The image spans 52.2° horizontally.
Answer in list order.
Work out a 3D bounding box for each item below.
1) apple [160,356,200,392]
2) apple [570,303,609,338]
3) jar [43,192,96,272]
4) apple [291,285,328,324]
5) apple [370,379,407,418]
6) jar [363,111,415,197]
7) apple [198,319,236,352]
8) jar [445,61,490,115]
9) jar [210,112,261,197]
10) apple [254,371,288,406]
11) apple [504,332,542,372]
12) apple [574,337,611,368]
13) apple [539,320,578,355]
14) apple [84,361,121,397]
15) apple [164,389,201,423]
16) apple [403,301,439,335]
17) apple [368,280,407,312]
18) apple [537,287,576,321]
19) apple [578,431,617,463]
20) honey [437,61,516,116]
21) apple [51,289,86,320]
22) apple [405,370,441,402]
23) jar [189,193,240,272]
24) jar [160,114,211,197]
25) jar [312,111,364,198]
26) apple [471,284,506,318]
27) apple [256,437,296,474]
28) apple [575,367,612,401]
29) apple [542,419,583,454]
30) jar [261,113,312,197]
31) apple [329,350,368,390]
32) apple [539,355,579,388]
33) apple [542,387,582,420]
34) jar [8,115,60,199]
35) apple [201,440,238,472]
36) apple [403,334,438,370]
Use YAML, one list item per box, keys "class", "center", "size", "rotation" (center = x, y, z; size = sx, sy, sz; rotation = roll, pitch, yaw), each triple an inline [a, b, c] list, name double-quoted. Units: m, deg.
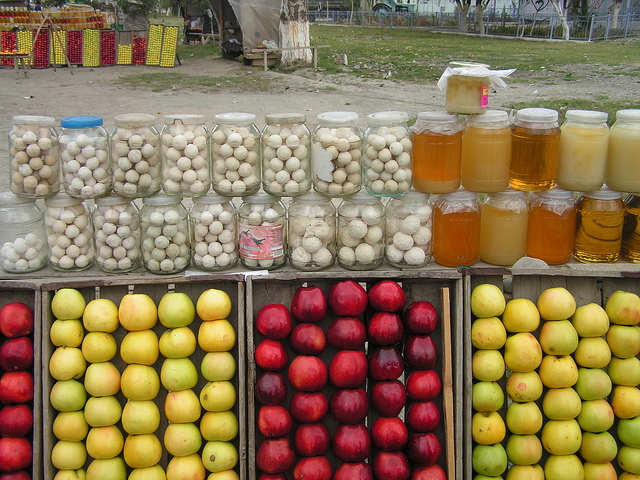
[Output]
- class: "apple"
  center: [-0.844, 0.809, 3.946]
  size: [0.199, 0.196, 0.203]
  rotation: [-9, -16, -9]
- class: "apple"
  center: [1.697, 0.504, 4.094]
  size: [0.213, 0.227, 0.220]
  rotation: [-16, -3, -7]
- class: "jar"
  center: [-1.605, -0.046, 4.183]
  size: [0.269, 0.488, 0.156]
  rotation: [-9, 20, -20]
- class: "apple"
  center: [-0.059, 0.417, 4.079]
  size: [0.246, 0.250, 0.255]
  rotation: [5, -7, -22]
- class: "apple"
  center: [0.426, 0.967, 4.034]
  size: [0.246, 0.246, 0.258]
  rotation: [1, 4, 18]
- class: "jar"
  center: [0.429, -0.534, 4.096]
  size: [0.314, 0.498, 0.248]
  rotation: [0, 19, 4]
- class: "apple"
  center: [-0.655, 0.594, 4.054]
  size: [0.223, 0.176, 0.245]
  rotation: [3, 12, -7]
- class: "jar"
  center: [0.958, -0.971, 4.174]
  size: [0.300, 0.349, 0.306]
  rotation: [0, 20, 0]
- class: "jar"
  center: [-0.531, -0.524, 4.100]
  size: [0.376, 0.606, 0.373]
  rotation: [1, 20, 0]
- class: "apple"
  center: [-0.284, 0.928, 4.009]
  size: [0.231, 0.224, 0.247]
  rotation: [5, -14, -30]
- class: "apple"
  center: [1.249, 0.689, 3.998]
  size: [0.225, 0.225, 0.136]
  rotation: [4, 20, 17]
- class: "apple"
  center: [1.678, 0.693, 4.011]
  size: [0.187, 0.184, 0.187]
  rotation: [16, -20, -4]
- class: "apple"
  center: [1.493, 0.608, 4.081]
  size: [0.239, 0.238, 0.236]
  rotation: [0, -4, -12]
- class: "apple"
  center: [-1.308, 0.830, 4.015]
  size: [0.193, 0.203, 0.201]
  rotation: [-2, 33, 5]
- class: "apple"
  center: [-0.822, 0.991, 3.959]
  size: [0.192, 0.198, 0.191]
  rotation: [-1, 0, 2]
- class: "apple"
  center: [0.633, 0.486, 4.077]
  size: [0.215, 0.229, 0.218]
  rotation: [3, -8, -7]
- class: "apple"
  center: [0.419, 0.363, 4.032]
  size: [0.184, 0.172, 0.176]
  rotation: [17, -19, -39]
- class: "apple"
  center: [1.485, 0.408, 4.109]
  size: [0.225, 0.238, 0.248]
  rotation: [-4, -2, 13]
- class: "apple"
  center: [1.713, 1.278, 4.087]
  size: [0.193, 0.186, 0.194]
  rotation: [-8, -20, -3]
- class: "honey"
  center: [0.992, -0.962, 4.147]
  size: [0.405, 0.280, 0.340]
  rotation: [0, 12, -10]
- class: "apple"
  center: [-1.520, 0.385, 3.986]
  size: [0.176, 0.186, 0.205]
  rotation: [-5, 43, -26]
- class: "apple"
  center: [0.630, 0.861, 3.987]
  size: [0.200, 0.186, 0.185]
  rotation: [6, -7, -44]
- class: "jar"
  center: [-0.665, -0.050, 4.177]
  size: [0.311, 0.491, 0.157]
  rotation: [-6, 20, -12]
- class: "jar"
  center: [-0.850, -0.533, 4.140]
  size: [0.332, 0.500, 0.278]
  rotation: [-5, 19, -9]
- class: "jar"
  center: [0.118, -0.533, 4.133]
  size: [0.337, 0.503, 0.290]
  rotation: [-2, 19, -1]
- class: "apple"
  center: [1.024, 0.364, 4.056]
  size: [0.183, 0.195, 0.191]
  rotation: [-2, 36, -6]
- class: "apple"
  center: [-0.268, 1.282, 3.902]
  size: [0.227, 0.192, 0.131]
  rotation: [-5, 20, -8]
- class: "apple"
  center: [1.676, 0.867, 4.025]
  size: [0.184, 0.197, 0.187]
  rotation: [-5, -8, -6]
- class: "apple"
  center: [1.473, 1.185, 3.999]
  size: [0.208, 0.215, 0.206]
  rotation: [-2, 1, 2]
- class: "jar"
  center: [-0.213, -0.544, 4.203]
  size: [0.318, 0.486, 0.323]
  rotation: [3, 15, -1]
- class: "apple"
  center: [0.181, 0.777, 4.021]
  size: [0.244, 0.266, 0.261]
  rotation: [7, 8, 14]
- class: "apple"
  center: [1.439, 0.790, 4.038]
  size: [0.147, 0.155, 0.153]
  rotation: [-26, 33, -19]
- class: "apple"
  center: [1.478, 1.000, 4.016]
  size: [0.191, 0.185, 0.200]
  rotation: [-1, -18, 0]
- class: "jar"
  center: [-1.812, -0.516, 4.146]
  size: [0.331, 0.514, 0.291]
  rotation: [-11, 21, -25]
- class: "apple"
  center: [-0.603, 1.292, 3.928]
  size: [0.185, 0.176, 0.192]
  rotation: [-3, -30, -4]
- class: "apple"
  center: [0.611, 0.680, 3.954]
  size: [0.193, 0.194, 0.198]
  rotation: [-1, -11, 1]
